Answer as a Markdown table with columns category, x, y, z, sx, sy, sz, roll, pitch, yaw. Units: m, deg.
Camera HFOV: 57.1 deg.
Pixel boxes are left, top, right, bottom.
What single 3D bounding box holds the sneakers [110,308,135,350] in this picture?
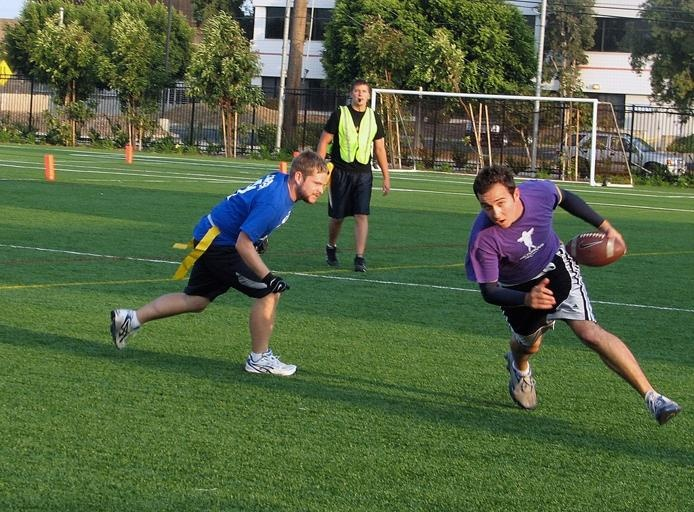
| category | x | y | z | sx | sy | sz | roll | pitch | yaw |
| --- | --- | --- | --- | --- | --- | --- | --- | --- | --- |
| sneakers | -1.580 | 0.489 | 4.478 | 0.170 | 0.321 | 0.116 | -4 | 24 | -19 |

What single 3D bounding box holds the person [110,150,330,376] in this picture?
| category | x | y | z | sx | sy | sz | roll | pitch | yaw |
| --- | --- | --- | --- | --- | --- | --- | --- | --- | --- |
| person | -0.885 | 0.008 | 4.568 | 1.477 | 1.487 | 0.874 | 5 | 9 | 1 |

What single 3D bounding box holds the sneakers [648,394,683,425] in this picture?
| category | x | y | z | sx | sy | sz | roll | pitch | yaw |
| --- | --- | --- | --- | --- | --- | --- | --- | --- | --- |
| sneakers | 1.717 | 0.828 | 3.453 | 0.114 | 0.103 | 0.229 | 26 | 2 | 18 |

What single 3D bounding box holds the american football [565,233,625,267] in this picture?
| category | x | y | z | sx | sy | sz | roll | pitch | yaw |
| --- | --- | --- | --- | --- | --- | --- | --- | --- | --- |
| american football | 1.631 | -0.042 | 4.215 | 0.378 | 0.235 | 0.259 | 3 | 19 | 30 |

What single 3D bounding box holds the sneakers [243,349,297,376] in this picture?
| category | x | y | z | sx | sy | sz | roll | pitch | yaw |
| --- | --- | --- | --- | --- | --- | --- | --- | --- | --- |
| sneakers | -0.524 | 0.738 | 4.434 | 0.380 | 0.155 | 0.144 | 2 | 5 | -7 |

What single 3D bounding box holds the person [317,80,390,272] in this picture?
| category | x | y | z | sx | sy | sz | roll | pitch | yaw |
| --- | --- | --- | --- | --- | --- | --- | --- | --- | --- |
| person | 0.012 | -1.044 | 7.982 | 0.772 | 2.282 | 0.884 | 3 | 11 | 2 |

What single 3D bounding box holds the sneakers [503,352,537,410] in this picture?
| category | x | y | z | sx | sy | sz | roll | pitch | yaw |
| --- | --- | --- | --- | --- | --- | --- | --- | --- | --- |
| sneakers | 1.103 | 0.806 | 4.066 | 0.152 | 0.381 | 0.177 | -9 | -12 | -15 |

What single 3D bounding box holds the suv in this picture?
| category | x | y | z | sx | sy | sz | roll | pitch | yaw |
| --- | --- | --- | --- | --- | --- | --- | --- | --- | --- |
| suv | 11.610 | -4.120 | 26.254 | 5.269 | 2.101 | 2.511 | 0 | 9 | 5 |

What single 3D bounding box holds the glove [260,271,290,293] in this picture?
| category | x | y | z | sx | sy | sz | roll | pitch | yaw |
| --- | --- | --- | --- | --- | --- | --- | --- | --- | --- |
| glove | -0.478 | 0.175 | 4.219 | 0.160 | 0.072 | 0.160 | 30 | -4 | 24 |
